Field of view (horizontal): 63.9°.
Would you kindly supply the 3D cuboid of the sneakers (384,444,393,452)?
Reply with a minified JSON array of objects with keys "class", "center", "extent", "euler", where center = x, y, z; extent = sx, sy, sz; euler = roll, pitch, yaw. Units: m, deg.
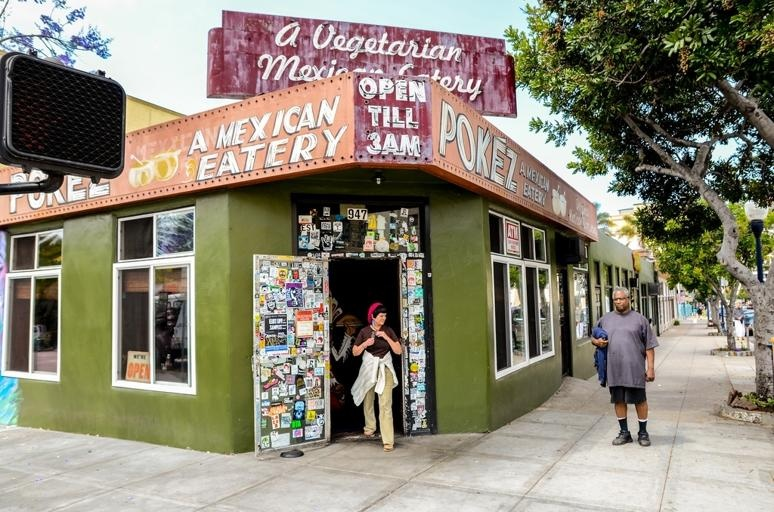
[{"class":"sneakers","center":[0.057,3.256,10.549],"extent":[0.174,0.098,0.101],"euler":[-1,3,-15]}]

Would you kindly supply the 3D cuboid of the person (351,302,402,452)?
[{"class":"person","center":[-0.152,2.091,11.051],"extent":[0.797,2.442,1.242],"euler":[-2,3,-27]}]

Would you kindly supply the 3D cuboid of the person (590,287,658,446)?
[{"class":"person","center":[4.134,1.906,10.733],"extent":[0.946,2.660,0.881],"euler":[1,3,30]}]
